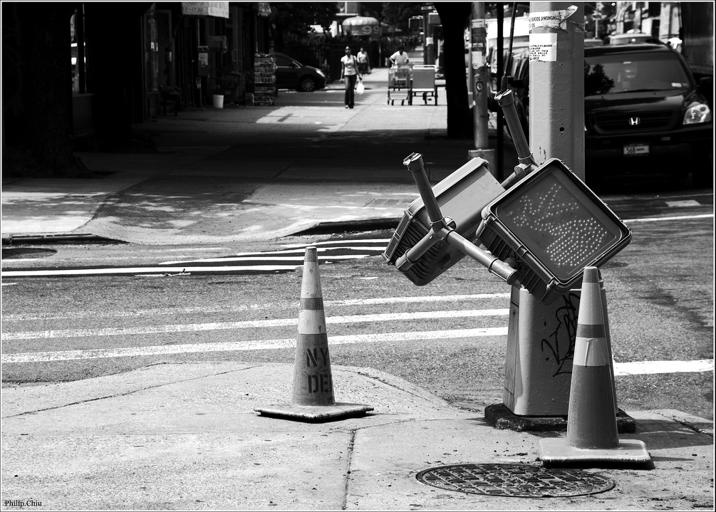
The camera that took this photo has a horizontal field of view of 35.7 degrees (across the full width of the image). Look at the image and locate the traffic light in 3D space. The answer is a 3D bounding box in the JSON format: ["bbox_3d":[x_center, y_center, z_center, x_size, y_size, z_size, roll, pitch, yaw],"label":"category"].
[{"bbox_3d":[1.412,-0.204,8.294,1.056,0.944,0.338,-36,-8,-14],"label":"traffic light"}]

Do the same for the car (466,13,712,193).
[{"bbox_3d":[5.204,-2.658,20.791,2.642,2.354,6.412,1,5,6],"label":"car"}]
